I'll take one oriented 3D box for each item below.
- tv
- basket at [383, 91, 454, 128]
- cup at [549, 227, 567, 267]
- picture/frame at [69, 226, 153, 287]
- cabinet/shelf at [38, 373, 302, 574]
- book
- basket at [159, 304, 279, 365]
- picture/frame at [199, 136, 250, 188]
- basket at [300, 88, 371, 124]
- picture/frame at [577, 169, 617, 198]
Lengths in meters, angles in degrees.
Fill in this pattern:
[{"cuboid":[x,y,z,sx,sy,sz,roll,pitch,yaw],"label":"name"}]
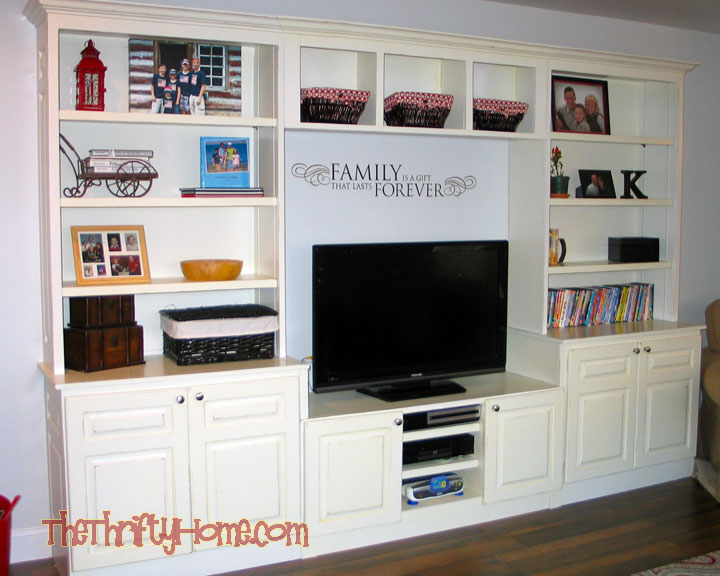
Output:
[{"cuboid":[0.243,0.186,3.489,0.867,0.655,0.240,-2,1,-26],"label":"tv"},{"cuboid":[0.327,-1.012,3.480,0.389,0.196,0.166,0,7,3],"label":"basket"},{"cuboid":[1.313,-0.277,4.034,0.108,0.230,0.330,2,8,19],"label":"cup"},{"cuboid":[-1.236,-0.156,2.999,0.287,0.292,0.021,-4,-17,-28],"label":"picture/frame"},{"cuboid":[-0.896,0.875,2.893,0.930,0.750,0.339,-2,1,-25],"label":"cabinet/shelf"},{"cuboid":[1.589,0.115,4.064,0.985,0.247,0.211,-3,8,-22],"label":"book"},{"cuboid":[-0.726,0.235,3.150,0.450,0.217,0.313,-4,9,-25],"label":"basket"},{"cuboid":[-0.720,-0.677,3.265,0.255,0.312,0.023,-2,-20,-12],"label":"picture/frame"},{"cuboid":[-0.138,-0.986,3.295,0.370,0.178,0.099,-1,7,-6],"label":"basket"},{"cuboid":[1.578,-0.687,4.112,0.331,0.254,0.174,-3,6,-23],"label":"picture/frame"}]
